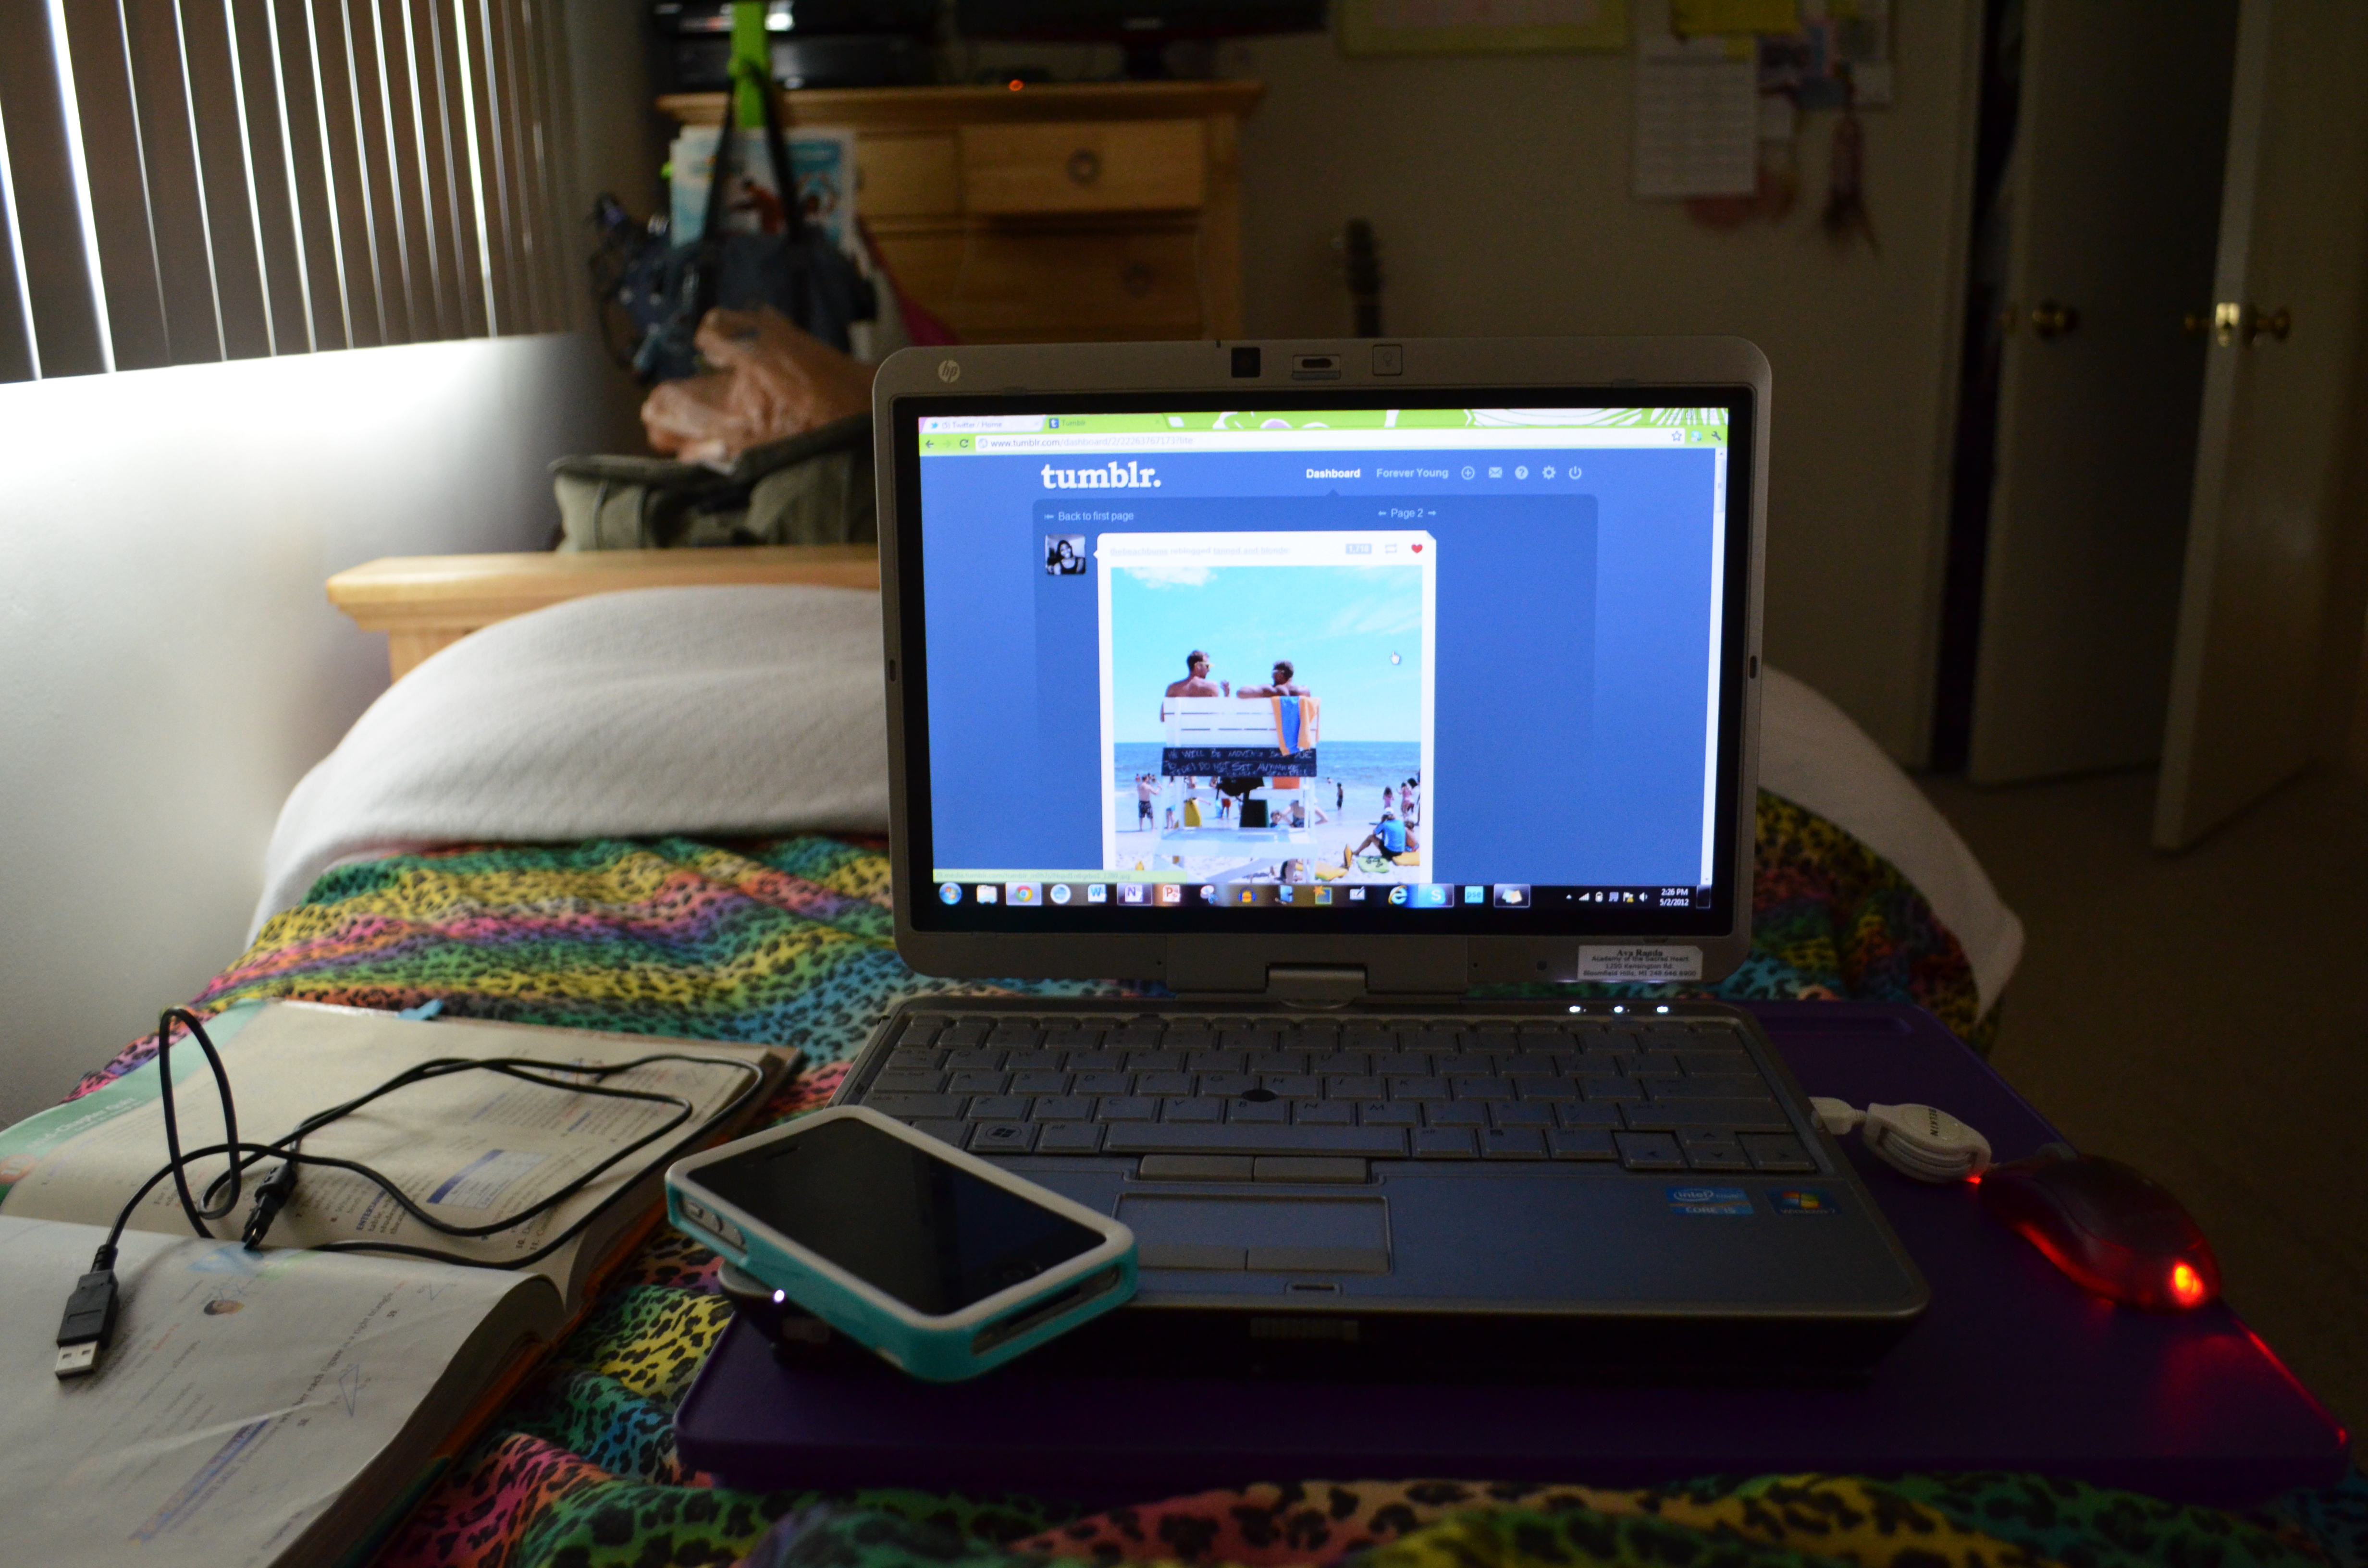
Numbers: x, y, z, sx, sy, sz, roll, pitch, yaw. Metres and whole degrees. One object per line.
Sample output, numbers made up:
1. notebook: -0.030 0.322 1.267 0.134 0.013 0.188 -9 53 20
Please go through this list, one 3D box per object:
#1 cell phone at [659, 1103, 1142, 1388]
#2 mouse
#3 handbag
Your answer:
1. cell phone: -0.165 0.230 1.001 0.218 0.036 0.132 16 24 36
2. mouse: 0.544 0.257 1.063 0.071 0.039 0.121 -6 23 -19
3. handbag: -0.719 -0.895 2.842 0.440 0.465 0.469 -9 24 -15
